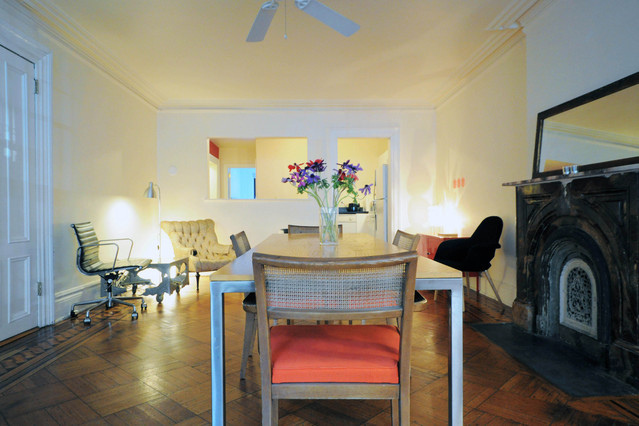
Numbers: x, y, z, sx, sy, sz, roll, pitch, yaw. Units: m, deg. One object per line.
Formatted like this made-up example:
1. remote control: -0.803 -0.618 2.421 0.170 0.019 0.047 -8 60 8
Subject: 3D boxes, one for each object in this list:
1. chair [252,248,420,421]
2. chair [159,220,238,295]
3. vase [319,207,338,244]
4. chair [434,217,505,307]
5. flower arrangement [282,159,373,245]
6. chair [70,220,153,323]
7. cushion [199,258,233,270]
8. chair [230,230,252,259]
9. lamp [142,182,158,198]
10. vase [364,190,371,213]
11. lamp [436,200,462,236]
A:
1. chair: 0.114 0.832 3.712 1.156 2.106 1.272 -1 8 -2
2. chair: -1.863 0.646 7.028 0.958 1.109 1.041 -2 0 28
3. vase: 0.129 0.117 4.222 0.252 0.326 0.254 -4 2 -16
4. chair: 1.926 0.785 5.763 0.869 0.795 0.732 8 15 28
5. flower arrangement: 0.036 -0.105 4.275 0.668 0.865 0.907 -1 3 -34
6. chair: -2.726 0.661 5.821 1.027 1.318 1.080 0 0 -6
7. cushion: -1.566 0.750 6.739 0.451 0.166 0.297 -3 3 -18
8. chair: -0.780 0.311 4.315 0.221 0.326 0.184 0 2 22
9. lamp: -2.540 -0.336 6.632 0.222 0.248 0.229 4 5 37
10. vase: 0.936 -0.219 8.679 0.219 0.442 0.442 0 0 1
11. lamp: 2.050 0.094 7.172 0.366 0.565 0.365 2 8 -37
